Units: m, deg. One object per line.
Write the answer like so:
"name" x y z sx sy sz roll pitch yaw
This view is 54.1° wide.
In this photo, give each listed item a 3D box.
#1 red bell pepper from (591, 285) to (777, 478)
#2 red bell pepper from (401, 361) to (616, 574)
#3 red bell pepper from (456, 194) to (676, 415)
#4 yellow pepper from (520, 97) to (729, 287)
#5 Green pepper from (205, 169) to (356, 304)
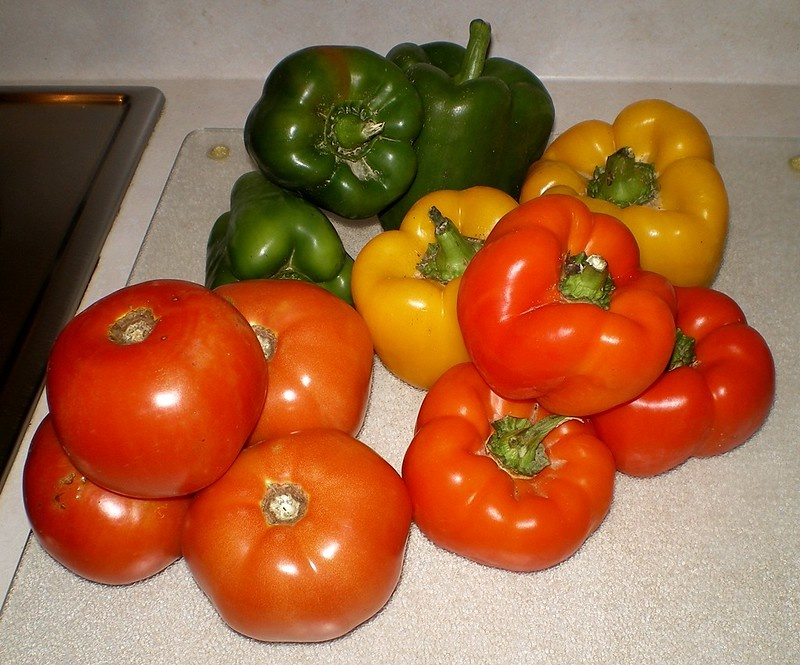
"red bell pepper" 0.406 0.061 1.313 0.350 0.265 0.280 2 31 -2
"red bell pepper" 0.133 0.186 1.173 0.284 0.259 0.389 -4 32 -9
"red bell pepper" 0.238 -0.051 1.111 0.300 0.166 0.297 17 64 12
"yellow pepper" 0.371 -0.239 1.465 0.326 0.363 0.373 4 55 6
"Green pepper" -0.197 -0.180 1.431 0.223 0.235 0.307 -9 34 -15
